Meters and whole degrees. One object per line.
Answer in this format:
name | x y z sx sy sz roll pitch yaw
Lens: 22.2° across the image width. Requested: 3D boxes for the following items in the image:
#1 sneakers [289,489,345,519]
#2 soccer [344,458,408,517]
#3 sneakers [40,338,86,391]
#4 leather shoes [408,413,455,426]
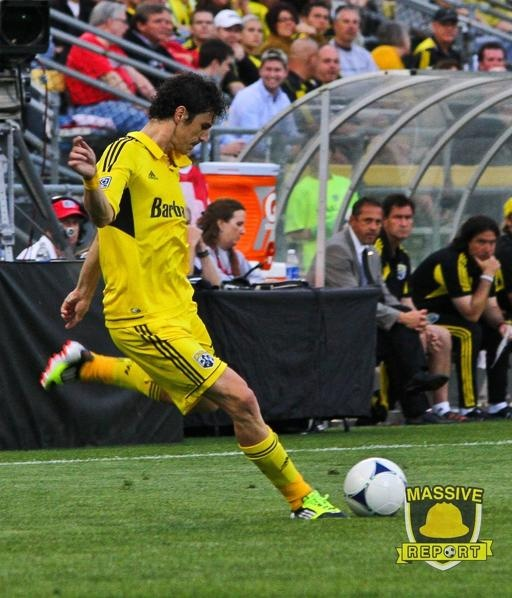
sneakers | 0.256 0.882 5.555 0.230 0.111 0.119 -3 14 0
soccer | 0.519 0.794 5.608 0.294 0.233 0.282 -11 -8 24
sneakers | -0.972 0.354 6.629 0.106 0.264 0.267 52 14 13
leather shoes | 1.174 0.809 8.765 0.298 0.086 0.093 -1 -3 7
